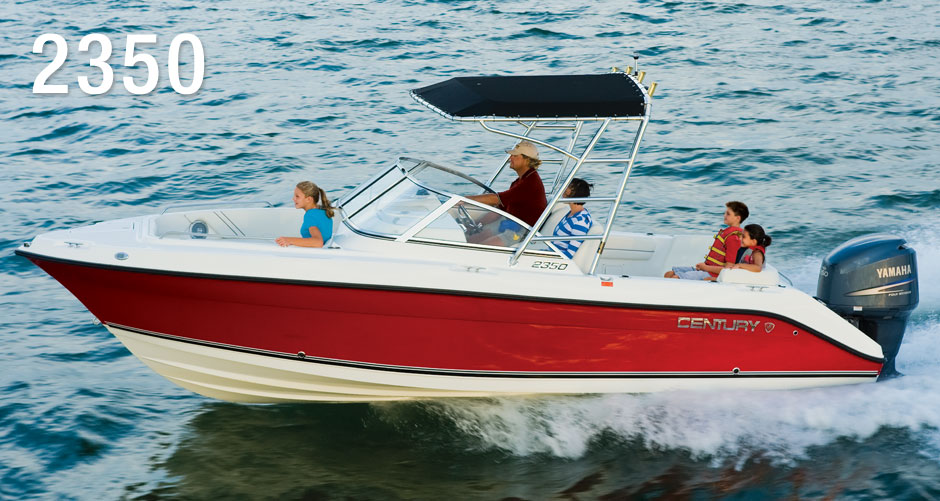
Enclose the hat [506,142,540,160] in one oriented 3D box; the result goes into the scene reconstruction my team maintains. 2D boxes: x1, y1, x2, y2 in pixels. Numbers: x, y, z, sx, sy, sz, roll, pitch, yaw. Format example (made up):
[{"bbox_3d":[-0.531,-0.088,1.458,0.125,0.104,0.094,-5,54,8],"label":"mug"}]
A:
[{"bbox_3d":[0.880,-1.527,13.851,0.641,0.150,0.288,3,5,-5],"label":"hat"}]
